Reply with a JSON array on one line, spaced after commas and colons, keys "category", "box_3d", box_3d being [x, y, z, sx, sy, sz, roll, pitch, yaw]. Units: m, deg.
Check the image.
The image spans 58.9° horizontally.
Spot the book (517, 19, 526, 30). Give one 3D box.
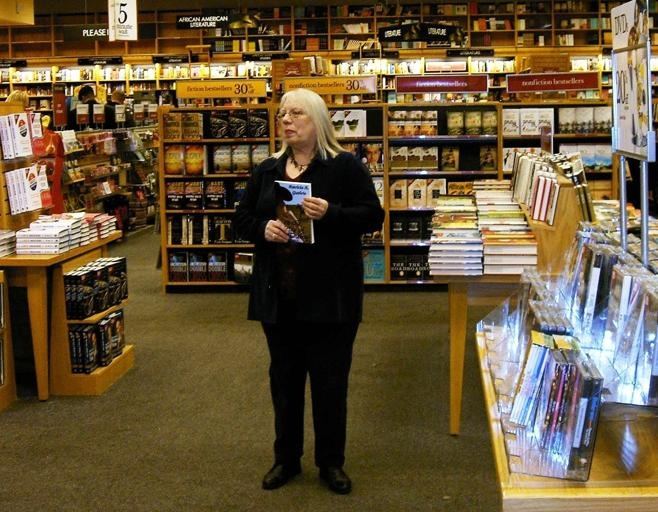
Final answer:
[{"category": "book", "box_3d": [5.177, -6.206, 15.627, 0.272, 0.302, 0.092, -3, 13, -8]}]

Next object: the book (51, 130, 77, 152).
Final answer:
[{"category": "book", "box_3d": [-3.915, -1.731, 8.785, 0.203, 0.320, 0.700, -6, 14, -18]}]

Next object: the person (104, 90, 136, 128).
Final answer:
[{"category": "person", "box_3d": [-4.181, -2.933, 11.590, 0.550, 0.749, 1.880, -6, 14, -17]}]

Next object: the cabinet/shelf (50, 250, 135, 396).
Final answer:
[{"category": "cabinet/shelf", "box_3d": [-1.787, 0.516, 4.340, 0.527, 0.943, 1.005, -1, 5, -3]}]

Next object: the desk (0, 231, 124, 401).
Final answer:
[{"category": "desk", "box_3d": [-1.965, 0.460, 4.201, 0.612, 0.969, 1.067, -1, 12, 4]}]

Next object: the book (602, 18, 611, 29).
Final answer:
[{"category": "book", "box_3d": [7.327, -6.151, 15.393, 0.217, 0.354, 0.386, 4, 14, 23]}]

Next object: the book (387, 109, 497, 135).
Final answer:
[{"category": "book", "box_3d": [1.375, -1.616, 7.029, 1.301, 0.335, 0.128, -1, 13, 0]}]

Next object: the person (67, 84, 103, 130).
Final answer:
[{"category": "person", "box_3d": [-4.397, -2.637, 10.334, 0.525, 0.763, 1.289, -7, 15, -23]}]

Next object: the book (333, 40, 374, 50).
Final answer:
[{"category": "book", "box_3d": [0.710, -5.716, 15.670, 1.113, 0.312, 0.530, 11, 18, 42]}]

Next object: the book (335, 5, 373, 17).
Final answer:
[{"category": "book", "box_3d": [0.644, -6.669, 15.839, 1.107, 0.379, 0.275, -1, 13, 1]}]

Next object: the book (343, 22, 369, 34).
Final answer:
[{"category": "book", "box_3d": [0.740, -6.181, 15.793, 0.699, 0.298, 0.182, 0, 13, 8]}]

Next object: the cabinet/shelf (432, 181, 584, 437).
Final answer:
[{"category": "cabinet/shelf", "box_3d": [0.859, 0.215, 2.828, 0.564, 0.952, 1.570, 1, 9, 8]}]

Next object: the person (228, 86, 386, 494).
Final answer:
[{"category": "person", "box_3d": [-0.099, 0.207, 2.883, 0.733, 2.000, 0.427, -1, 13, 5]}]

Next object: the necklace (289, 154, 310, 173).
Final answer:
[{"category": "necklace", "box_3d": [-0.149, -0.446, 2.870, 0.096, 0.066, 0.097, -1, -27, 8]}]

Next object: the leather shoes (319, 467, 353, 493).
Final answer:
[{"category": "leather shoes", "box_3d": [0.038, 1.133, 2.990, 0.084, 0.075, 0.182, -4, 2, -30]}]

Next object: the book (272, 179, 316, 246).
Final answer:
[{"category": "book", "box_3d": [-0.157, -0.192, 2.622, 0.278, 0.372, 0.043, 6, 14, 37]}]

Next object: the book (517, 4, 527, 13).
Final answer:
[{"category": "book", "box_3d": [5.166, -6.623, 15.570, 0.285, 0.255, 0.132, 0, 13, 5]}]

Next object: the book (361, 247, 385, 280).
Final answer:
[{"category": "book", "box_3d": [0.562, 0.067, 7.319, 0.471, 0.446, 0.350, -1, 5, 4]}]

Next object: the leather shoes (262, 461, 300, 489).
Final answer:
[{"category": "leather shoes", "box_3d": [-0.238, 1.125, 3.075, 0.245, 0.093, 0.086, -9, 10, -44]}]

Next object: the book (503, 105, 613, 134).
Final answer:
[{"category": "book", "box_3d": [2.751, -1.638, 7.045, 1.306, 0.334, 0.278, -3, 13, -6]}]
